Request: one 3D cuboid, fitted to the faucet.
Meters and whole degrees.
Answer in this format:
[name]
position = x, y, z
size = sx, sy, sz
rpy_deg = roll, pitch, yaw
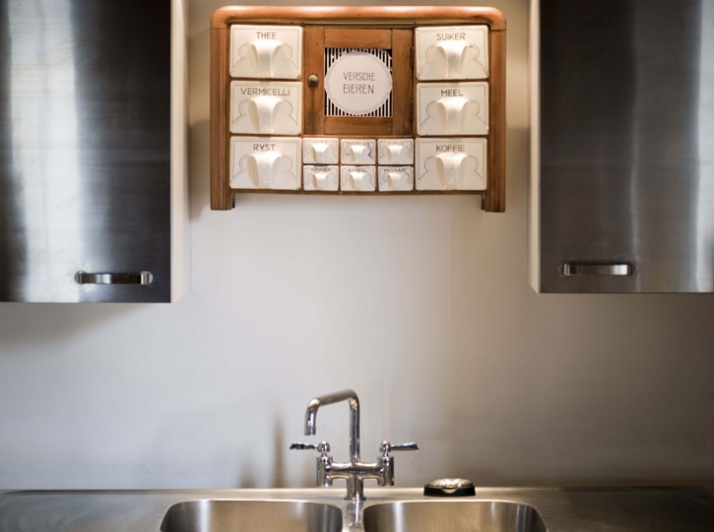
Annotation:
[faucet]
position = -0.061, 0.553, 2.832
size = 0.168, 0.339, 0.266
rpy_deg = -1, 1, 0
